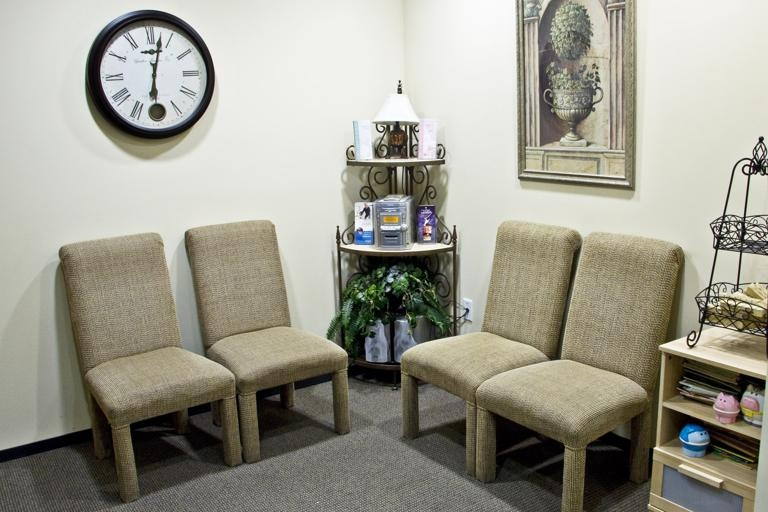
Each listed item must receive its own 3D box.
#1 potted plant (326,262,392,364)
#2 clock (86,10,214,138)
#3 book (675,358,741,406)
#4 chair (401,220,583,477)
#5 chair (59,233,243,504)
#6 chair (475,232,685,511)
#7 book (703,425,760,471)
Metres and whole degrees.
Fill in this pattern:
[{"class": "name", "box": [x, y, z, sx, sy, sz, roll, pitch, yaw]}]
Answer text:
[{"class": "potted plant", "box": [-0.138, 0.345, 4.328, 0.573, 0.725, 0.601, -5, 15, -12]}, {"class": "clock", "box": [-1.442, -1.101, 3.534, 0.795, 0.824, 0.112, -2, 3, -33]}, {"class": "book", "box": [1.538, 0.607, 2.798, 0.200, 0.076, 0.206, 12, 4, 10]}, {"class": "chair", "box": [0.636, 0.484, 3.539, 0.964, 1.301, 0.734, -10, 14, -40]}, {"class": "chair", "box": [-1.328, 0.578, 3.369, 0.749, 1.331, 0.740, -9, 14, -31]}, {"class": "chair", "box": [1.035, 0.572, 3.138, 0.944, 1.309, 0.634, -10, 15, -37]}, {"class": "book", "box": [1.641, 0.900, 2.771, 0.141, 0.057, 0.180, 6, 9, -41]}]
